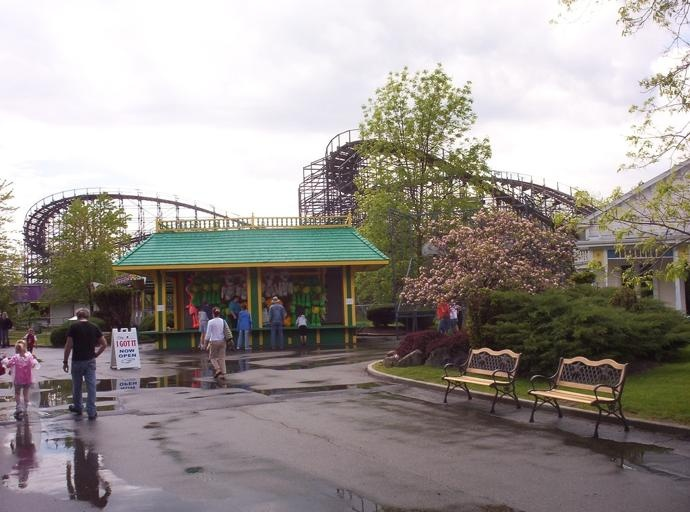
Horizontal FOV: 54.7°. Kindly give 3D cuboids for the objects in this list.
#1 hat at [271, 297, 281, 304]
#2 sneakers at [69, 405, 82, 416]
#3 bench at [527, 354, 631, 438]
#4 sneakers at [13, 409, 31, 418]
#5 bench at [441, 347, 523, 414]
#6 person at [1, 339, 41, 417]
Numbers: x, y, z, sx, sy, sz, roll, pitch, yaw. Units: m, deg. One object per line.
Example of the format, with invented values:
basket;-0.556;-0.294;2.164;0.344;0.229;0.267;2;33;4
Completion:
hat;-2.708;1.753;26.134;0.297;0.133;0.342;-11;6;-22
sneakers;-5.397;3.074;13.402;0.410;0.178;0.152;13;2;40
bench;4.286;2.563;12.407;0.938;1.269;1.855;1;-5;-22
sneakers;-6.396;3.121;13.192;0.129;0.167;0.383;0;-6;-39
bench;2.906;2.632;14.332;0.814;1.210;1.799;1;-5;-24
person;-6.557;2.473;13.518;0.619;1.460;1.172;-1;1;-27
